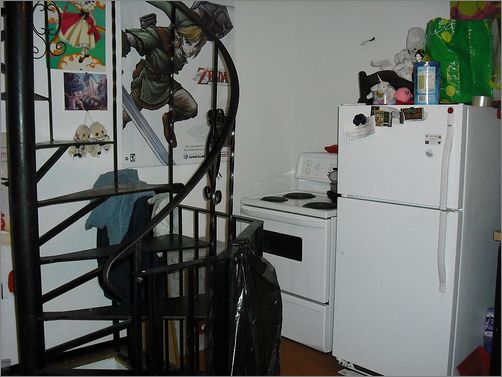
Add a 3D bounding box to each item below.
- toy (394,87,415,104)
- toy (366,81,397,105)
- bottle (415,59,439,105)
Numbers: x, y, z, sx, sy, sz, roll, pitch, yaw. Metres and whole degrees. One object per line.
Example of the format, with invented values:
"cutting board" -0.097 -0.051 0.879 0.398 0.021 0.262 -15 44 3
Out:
"toy" 1.019 -0.616 3.054 0.090 0.118 0.085 24 10 38
"toy" 0.908 -0.659 3.174 0.169 0.227 0.143 -3 44 20
"bottle" 1.132 -0.675 2.941 0.162 0.266 0.155 0 8 0
